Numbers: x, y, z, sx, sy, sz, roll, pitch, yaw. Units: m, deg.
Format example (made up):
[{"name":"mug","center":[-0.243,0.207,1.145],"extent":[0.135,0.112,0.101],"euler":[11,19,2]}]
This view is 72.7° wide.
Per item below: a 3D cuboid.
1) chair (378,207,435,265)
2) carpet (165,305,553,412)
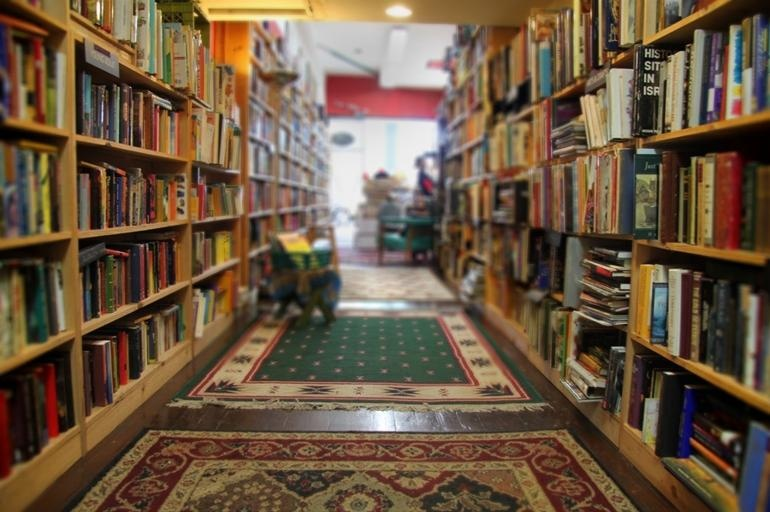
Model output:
[{"name":"chair","center":[0.215,-0.259,5.369],"extent":[0.658,0.518,0.647],"euler":[0,16,12]},{"name":"carpet","center":[-0.156,0.705,3.906],"extent":[2.118,0.023,2.228],"euler":[1,6,1]}]
